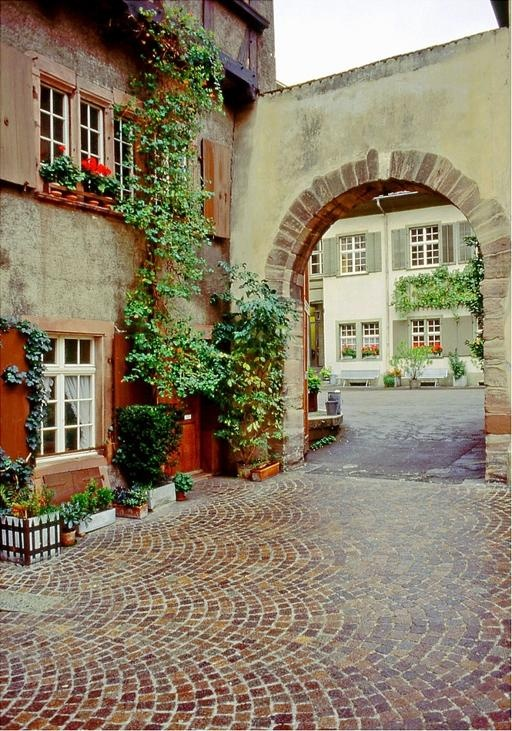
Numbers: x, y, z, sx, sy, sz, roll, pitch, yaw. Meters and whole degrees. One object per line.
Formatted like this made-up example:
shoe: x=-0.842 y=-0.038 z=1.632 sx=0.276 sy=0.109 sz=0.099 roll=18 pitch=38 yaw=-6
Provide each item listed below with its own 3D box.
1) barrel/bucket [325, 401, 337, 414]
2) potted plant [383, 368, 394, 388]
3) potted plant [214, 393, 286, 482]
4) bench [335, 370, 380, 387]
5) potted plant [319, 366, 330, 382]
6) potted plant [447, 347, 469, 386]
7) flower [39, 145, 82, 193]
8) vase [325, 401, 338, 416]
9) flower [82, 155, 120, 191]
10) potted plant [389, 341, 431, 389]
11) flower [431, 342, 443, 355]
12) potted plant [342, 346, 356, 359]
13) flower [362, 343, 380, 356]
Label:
barrel/bucket: x=1.375 y=0.771 z=13.246 sx=0.209 sy=0.245 sz=0.203 roll=0 pitch=3 yaw=0
potted plant: x=4.336 y=0.459 z=23.364 sx=0.427 sy=0.456 sz=0.422 roll=-1 pitch=-2 yaw=19
potted plant: x=-0.107 y=0.956 z=9.592 sx=0.769 sy=1.199 sz=1.106 roll=-18 pitch=-6 yaw=22
bench: x=3.413 y=0.387 z=24.581 sx=0.731 sy=0.540 sz=1.460 roll=-5 pitch=5 yaw=-44
potted plant: x=2.341 y=0.284 z=25.352 sx=0.500 sy=0.499 sz=0.413 roll=0 pitch=-4 yaw=2
potted plant: x=6.292 y=0.068 z=22.793 sx=0.556 sy=1.075 sz=0.530 roll=0 pitch=4 yaw=29
flower: x=-1.888 y=-1.864 z=7.031 sx=0.458 sy=0.336 sz=0.235 roll=-4 pitch=4 yaw=-29
vase: x=1.365 y=0.790 z=13.307 sx=0.234 sy=0.289 sz=0.228 roll=-2 pitch=4 yaw=-17
flower: x=-1.612 y=-1.936 z=7.411 sx=0.199 sy=0.362 sz=0.560 roll=1 pitch=4 yaw=38
potted plant: x=5.003 y=-0.057 z=23.568 sx=1.287 sy=1.642 sz=1.439 roll=-2 pitch=-1 yaw=19
flower: x=5.857 y=-0.540 z=23.477 sx=0.380 sy=0.402 sz=0.522 roll=-1 pitch=4 yaw=13
potted plant: x=3.212 y=-0.434 z=24.936 sx=0.410 sy=0.361 sz=0.300 roll=2 pitch=-3 yaw=14
flower: x=3.892 y=-0.531 z=24.531 sx=0.461 sy=0.335 sz=0.410 roll=0 pitch=-2 yaw=7
